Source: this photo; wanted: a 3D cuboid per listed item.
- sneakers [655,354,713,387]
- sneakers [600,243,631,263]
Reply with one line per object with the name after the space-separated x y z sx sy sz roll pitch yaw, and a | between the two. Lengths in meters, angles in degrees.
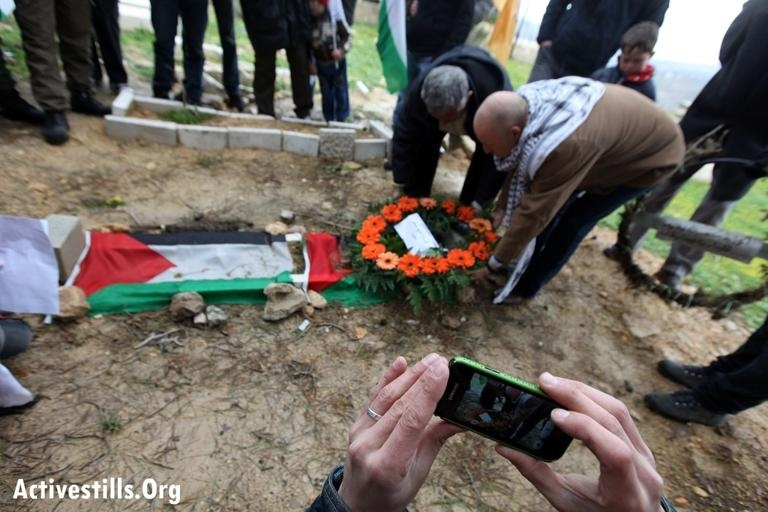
3.001 1.153 5.343 0.519 0.229 0.179 9 36 39 | sneakers
2.804 -0.053 6.393 0.237 0.166 0.148 13 44 33 | sneakers
